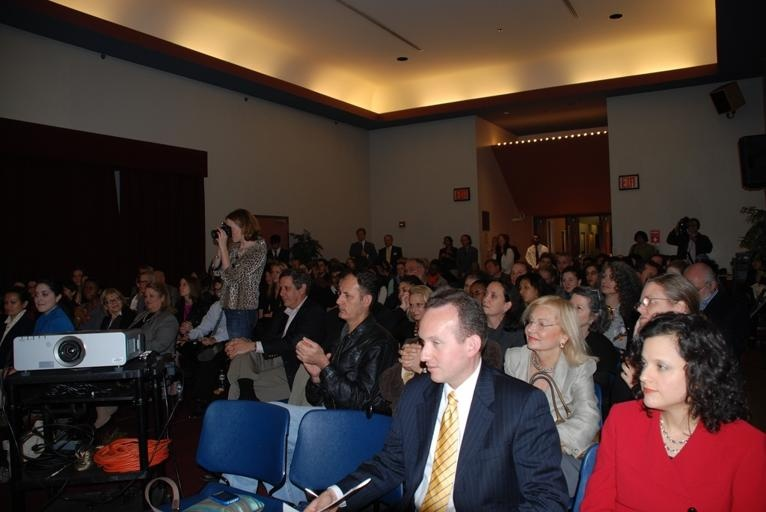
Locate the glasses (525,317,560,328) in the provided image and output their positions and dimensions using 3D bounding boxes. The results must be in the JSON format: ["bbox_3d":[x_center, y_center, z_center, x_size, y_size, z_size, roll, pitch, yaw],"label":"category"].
[{"bbox_3d":[1.136,0.471,3.733,0.223,0.066,0.076,-2,-2,26],"label":"glasses"}]

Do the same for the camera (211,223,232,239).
[{"bbox_3d":[-1.613,-0.227,5.225,0.169,0.122,0.188,6,12,43],"label":"camera"}]

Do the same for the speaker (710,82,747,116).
[{"bbox_3d":[7.086,-3.195,10.718,0.529,0.521,0.285,-33,1,-28],"label":"speaker"}]

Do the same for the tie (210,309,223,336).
[{"bbox_3d":[-2.038,0.847,6.581,0.244,0.361,0.116,0,-1,41],"label":"tie"}]

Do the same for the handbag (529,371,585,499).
[{"bbox_3d":[1.166,1.157,3.576,0.337,0.832,0.345,1,1,12],"label":"handbag"}]
